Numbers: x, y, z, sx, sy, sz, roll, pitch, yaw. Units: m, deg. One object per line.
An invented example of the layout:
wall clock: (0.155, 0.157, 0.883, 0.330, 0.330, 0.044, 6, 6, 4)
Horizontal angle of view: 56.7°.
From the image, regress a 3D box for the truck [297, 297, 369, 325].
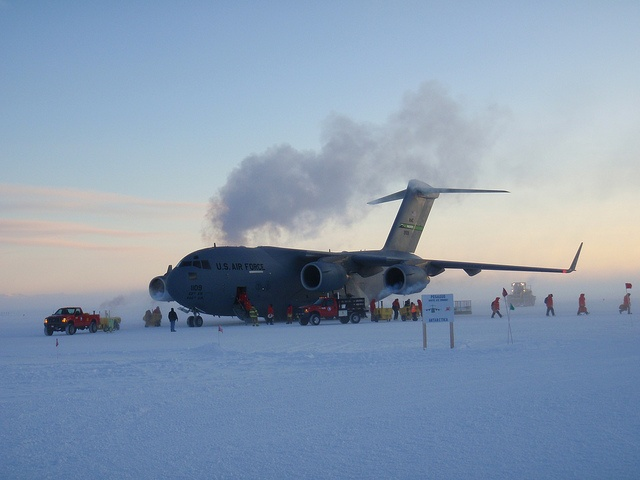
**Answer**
truck: (0.571, 3.854, 31.496, 1.366, 1.460, 3.837, -8, -12, 43)

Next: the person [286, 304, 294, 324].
person: (-1.610, 4.033, 32.186, 0.268, 0.988, 1.118, 4, -5, -5)

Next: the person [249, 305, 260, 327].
person: (-3.432, 3.963, 30.982, 0.463, 0.966, 1.179, 5, -5, -7)
